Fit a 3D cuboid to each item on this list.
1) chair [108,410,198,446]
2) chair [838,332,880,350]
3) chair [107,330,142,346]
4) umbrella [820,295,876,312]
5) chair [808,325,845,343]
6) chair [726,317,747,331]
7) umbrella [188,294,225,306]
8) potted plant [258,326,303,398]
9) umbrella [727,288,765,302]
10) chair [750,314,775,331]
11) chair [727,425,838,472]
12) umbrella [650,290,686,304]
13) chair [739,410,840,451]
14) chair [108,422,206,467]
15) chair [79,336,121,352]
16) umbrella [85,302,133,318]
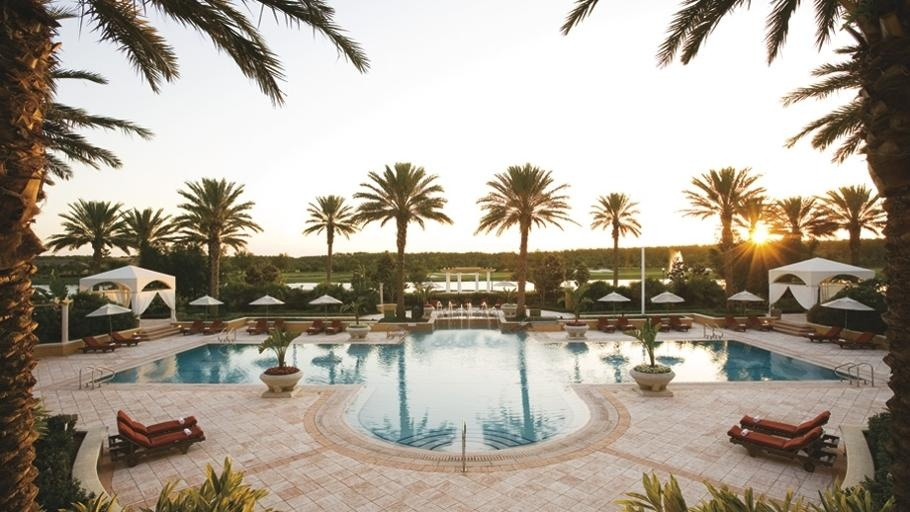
[{"bbox_3d":[-10.812,6.493,22.800,2.198,0.847,1.570,1,2,-29],"label":"chair"},{"bbox_3d":[21.715,4.607,33.282,1.552,0.650,1.022,-1,-4,11],"label":"chair"},{"bbox_3d":[-18.925,4.726,35.458,1.584,0.854,0.814,1,2,-6],"label":"chair"},{"bbox_3d":[21.746,2.689,34.299,1.944,0.849,3.754,-5,-6,34],"label":"umbrella"},{"bbox_3d":[20.840,4.363,34.588,1.702,0.725,0.920,-2,-2,8],"label":"chair"},{"bbox_3d":[17.732,4.291,39.158,0.725,0.667,1.253,-3,2,-5],"label":"chair"},{"bbox_3d":[-16.151,2.997,40.412,1.728,0.838,1.785,1,-2,-5],"label":"umbrella"},{"bbox_3d":[-7.655,4.657,27.293,1.670,2.954,1.178,-2,-4,-1],"label":"potted plant"},{"bbox_3d":[18.731,2.645,39.451,1.790,0.748,1.741,3,-5,-38],"label":"umbrella"},{"bbox_3d":[19.322,4.270,39.215,0.851,0.809,1.385,-1,-7,-9],"label":"chair"},{"bbox_3d":[11.861,6.827,22.498,3.373,1.149,1.705,1,2,25],"label":"chair"},{"bbox_3d":[14.380,2.881,42.283,1.852,0.832,1.764,0,-3,3],"label":"umbrella"},{"bbox_3d":[12.539,6.160,23.118,3.040,1.039,1.075,1,-8,35],"label":"chair"},{"bbox_3d":[-10.947,6.853,22.879,2.947,1.184,1.505,-2,7,-25],"label":"chair"},{"bbox_3d":[-19.497,4.870,33.938,1.662,0.697,0.887,1,-1,5],"label":"chair"},{"bbox_3d":[-19.556,3.032,34.881,1.881,0.839,3.414,1,-6,-31],"label":"umbrella"}]
